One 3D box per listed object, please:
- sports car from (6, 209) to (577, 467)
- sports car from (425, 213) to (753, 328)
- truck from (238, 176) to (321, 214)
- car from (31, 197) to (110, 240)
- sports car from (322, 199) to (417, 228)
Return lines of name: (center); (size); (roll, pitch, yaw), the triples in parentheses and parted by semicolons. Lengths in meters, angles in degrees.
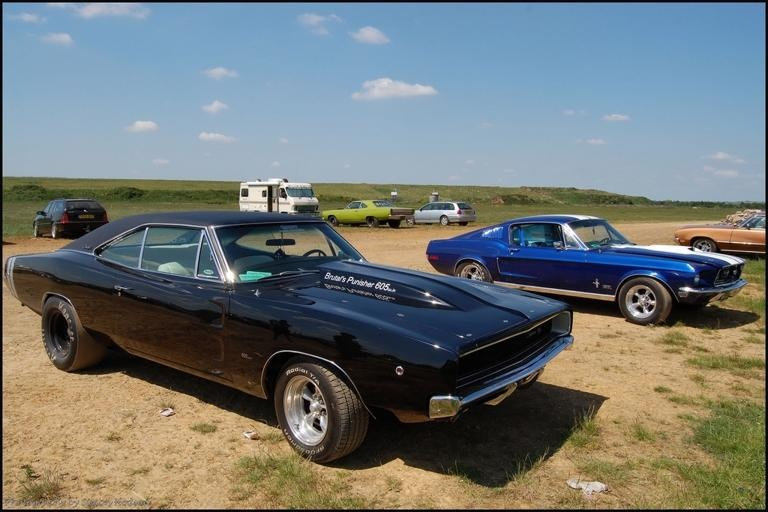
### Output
sports car: (-1.149, 0.661, 5.560); (5.364, 2.197, 1.848); (7, 15, 26)
sports car: (3.585, 0.126, 9.741); (5.429, 1.122, 2.546); (3, 7, 32)
truck: (-6.456, -3.661, 30.039); (4.781, 2.071, 2.211); (10, 16, 35)
car: (-12.791, -1.511, 20.063); (4.832, 1.082, 2.443); (7, 10, 42)
sports car: (-1.247, -2.646, 30.395); (5.417, 0.948, 2.153); (3, 6, 26)
